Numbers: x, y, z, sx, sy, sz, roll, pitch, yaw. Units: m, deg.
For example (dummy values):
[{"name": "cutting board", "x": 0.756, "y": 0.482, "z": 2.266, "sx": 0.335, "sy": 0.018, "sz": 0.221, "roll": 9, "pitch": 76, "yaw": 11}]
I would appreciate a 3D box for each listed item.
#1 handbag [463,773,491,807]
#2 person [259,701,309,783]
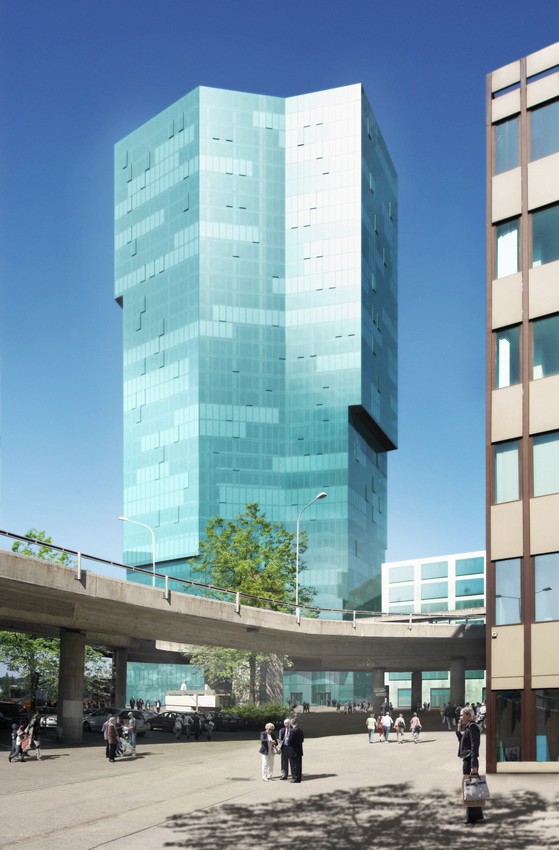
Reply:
[{"name": "handbag", "x": 3.291, "y": 6.095, "z": 17.590, "sx": 0.389, "sy": 0.492, "sz": 0.388, "roll": -3, "pitch": -13, "yaw": 6}, {"name": "person", "x": 0.079, "y": 7.957, "z": 25.919, "sx": 0.959, "sy": 1.449, "sz": 2.692, "roll": -1, "pitch": -15, "yaw": -1}]
